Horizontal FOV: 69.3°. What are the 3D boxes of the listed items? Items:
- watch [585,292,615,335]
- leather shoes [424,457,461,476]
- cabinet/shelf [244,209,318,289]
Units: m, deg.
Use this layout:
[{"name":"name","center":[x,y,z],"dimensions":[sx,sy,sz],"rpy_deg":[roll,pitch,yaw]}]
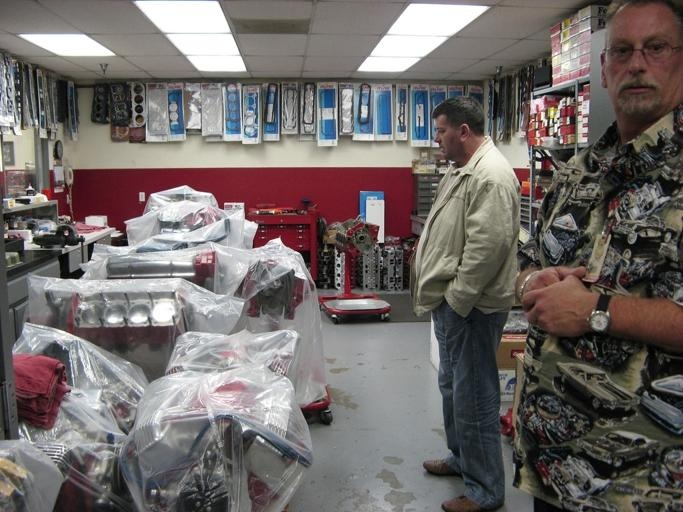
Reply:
[{"name":"watch","center":[0.711,0.154,1.355],"dimensions":[0.058,0.110,0.095],"rpy_deg":[15,18,29]},{"name":"leather shoes","center":[0.594,1.248,2.967],"dimensions":[0.232,0.110,0.090],"rpy_deg":[4,4,7]},{"name":"cabinet/shelf","center":[-0.898,-0.130,7.389],"dimensions":[1.158,1.282,0.904],"rpy_deg":[0,4,-3]}]
